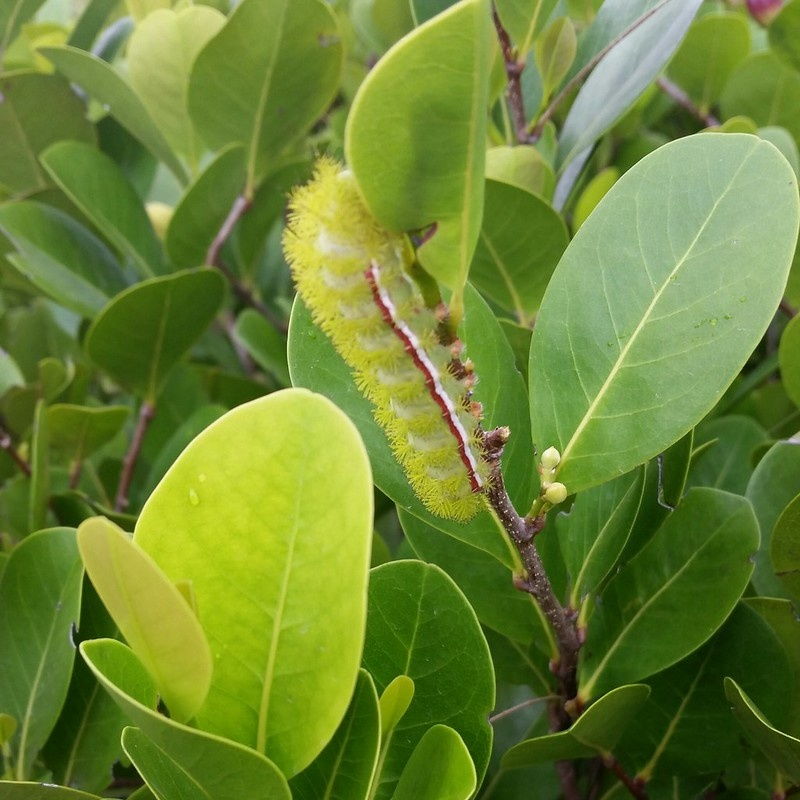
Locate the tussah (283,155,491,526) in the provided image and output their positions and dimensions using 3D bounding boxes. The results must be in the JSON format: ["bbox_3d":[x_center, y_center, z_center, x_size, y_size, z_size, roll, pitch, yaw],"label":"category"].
[{"bbox_3d":[-0.012,-0.055,1.194,0.211,0.369,0.102,1,10,-7],"label":"tussah"}]
